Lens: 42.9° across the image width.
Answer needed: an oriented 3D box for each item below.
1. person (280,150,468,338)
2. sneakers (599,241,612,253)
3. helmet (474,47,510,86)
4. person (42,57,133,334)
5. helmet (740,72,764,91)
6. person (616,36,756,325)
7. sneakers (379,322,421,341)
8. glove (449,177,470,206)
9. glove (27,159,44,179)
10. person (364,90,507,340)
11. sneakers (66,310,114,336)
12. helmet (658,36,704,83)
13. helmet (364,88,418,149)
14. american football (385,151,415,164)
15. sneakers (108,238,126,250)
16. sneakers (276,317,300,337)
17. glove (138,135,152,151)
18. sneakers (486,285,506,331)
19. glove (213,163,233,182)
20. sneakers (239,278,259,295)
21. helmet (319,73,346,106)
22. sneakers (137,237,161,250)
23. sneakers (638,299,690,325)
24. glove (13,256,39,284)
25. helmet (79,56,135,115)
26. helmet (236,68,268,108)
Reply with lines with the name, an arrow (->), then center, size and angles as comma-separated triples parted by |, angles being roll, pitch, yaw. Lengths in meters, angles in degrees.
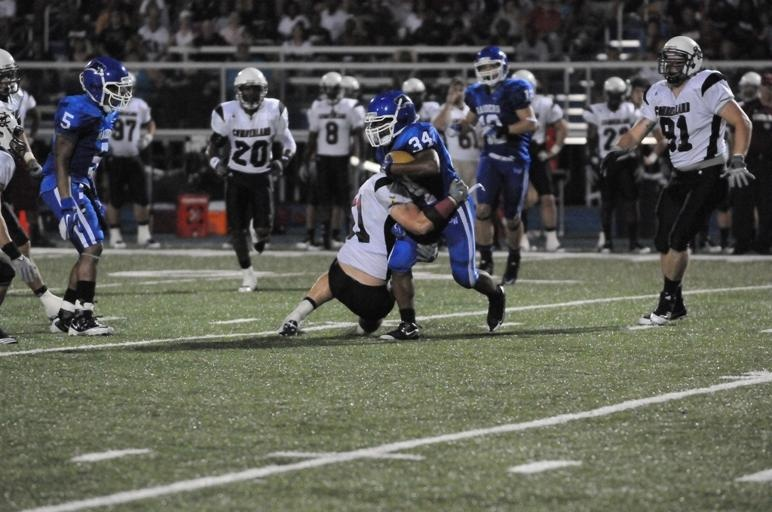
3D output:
person -> -0.071, 0.016, 7.320 | 1.344, 1.717, 0.760 | 0, 28, -4
sneakers -> 2.986, -0.114, 13.416 | 0.160, 0.149, 0.304 | 2, 8, 19
helmet -> 1.031, -1.943, 9.820 | 0.333, 0.326, 0.416 | 0, 25, 16
person -> -2.256, -0.463, 7.475 | 0.718, 2.087, 0.743 | -2, 8, -15
helmet -> 4.739, -2.276, 12.773 | 0.229, 0.229, 0.294 | 3, 6, 18
person -> 2.308, -0.453, 7.688 | 0.977, 1.983, 0.544 | 1, 8, 13
sneakers -> 0.126, 0.560, 7.233 | 0.346, 0.148, 0.112 | 2, 3, 4
glove -> 0.530, -0.458, 7.039 | 0.142, 0.178, 0.086 | 7, 8, 13
glove -> -2.769, -0.696, 7.811 | 0.124, 0.072, 0.304 | -9, 22, -10
person -> 0.345, -0.294, 7.178 | 0.960, 1.801, 0.659 | 2, 8, 14
sneakers -> -2.165, 0.507, 7.381 | 0.397, 0.181, 0.153 | 1, 2, 12
helmet -> 2.370, -1.546, 7.680 | 0.385, 0.320, 0.290 | -1, 14, 11
helmet -> 0.039, -1.015, 7.100 | 0.444, 0.349, 0.334 | -21, 17, -31
american football -> 0.103, -0.687, 6.884 | 0.128, 0.073, 0.088 | 5, 9, 15
sneakers -> -3.876, -0.159, 14.177 | 0.238, 0.153, 0.121 | -3, 6, 28
sneakers -> -0.712, 0.535, 7.280 | 0.123, 0.111, 0.148 | 10, 8, -17
glove -> -3.404, -1.627, 13.976 | 0.153, 0.228, 0.423 | -2, 8, -14
sneakers -> 0.801, 0.395, 7.411 | 0.128, 0.339, 0.154 | 7, 0, 44
glove -> -1.610, -0.843, 9.807 | 0.153, 0.158, 0.200 | -1, 8, -8
sneakers -> -1.371, 0.274, 9.772 | 0.182, 0.152, 0.380 | -1, 8, -8
helmet -> -0.741, -2.367, 13.715 | 0.371, 0.408, 0.430 | -6, 20, -8
sneakers -> -3.484, -0.157, 14.304 | 0.435, 0.162, 0.144 | -1, 6, 11
sneakers -> 2.201, 0.447, 7.782 | 0.489, 0.178, 0.161 | -3, 5, -26
glove -> -2.688, 0.090, 7.388 | 0.169, 0.069, 0.217 | 9, -31, 14
helmet -> -2.170, -1.333, 7.594 | 0.474, 0.380, 0.355 | 21, 22, 7
helmet -> -1.323, -1.627, 9.698 | 0.341, 0.371, 0.421 | -3, -5, -3
